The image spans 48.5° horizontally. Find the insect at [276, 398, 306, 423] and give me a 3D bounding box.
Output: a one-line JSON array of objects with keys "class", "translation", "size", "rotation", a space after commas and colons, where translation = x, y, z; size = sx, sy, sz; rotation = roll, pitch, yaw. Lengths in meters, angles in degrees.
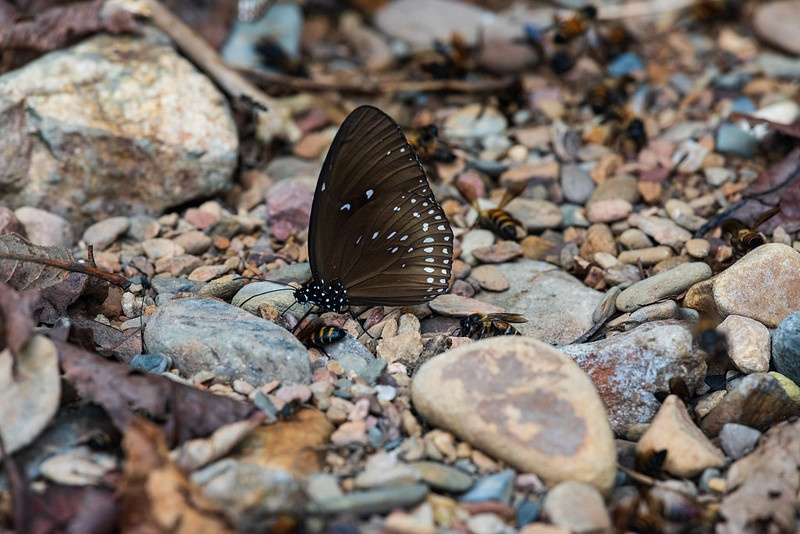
[{"class": "insect", "translation": [-0.633, 0.825, 5.065], "size": [0.117, 0.057, 0.107], "rotation": [-32, 46, -20]}]

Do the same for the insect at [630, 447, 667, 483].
[{"class": "insect", "translation": [1.409, 1.111, 4.981], "size": [0.163, 0.039, 0.163], "rotation": [-23, 83, 31]}]

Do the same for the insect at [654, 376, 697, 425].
[{"class": "insect", "translation": [1.623, 0.814, 5.235], "size": [0.252, 0.129, 0.266], "rotation": [15, 79, 28]}]

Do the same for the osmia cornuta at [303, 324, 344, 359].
[{"class": "osmia cornuta", "translation": [-0.455, 0.444, 5.420], "size": [0.198, 0.056, 0.190], "rotation": [-12, 48, 18]}]
